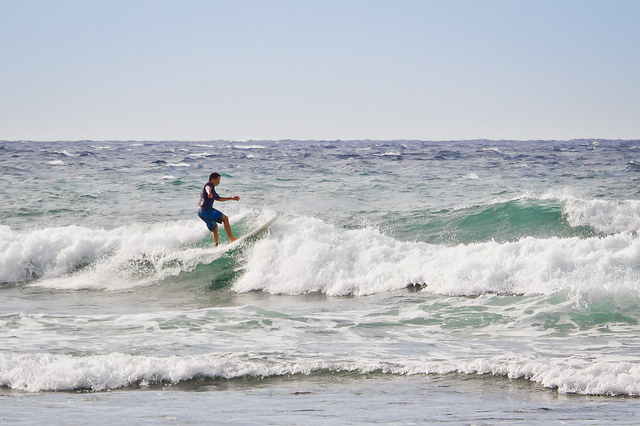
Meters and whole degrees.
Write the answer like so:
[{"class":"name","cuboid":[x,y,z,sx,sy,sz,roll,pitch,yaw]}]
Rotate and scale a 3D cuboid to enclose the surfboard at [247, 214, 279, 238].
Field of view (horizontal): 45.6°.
[{"class":"surfboard","cuboid":[-1.537,0.364,20.261,0.196,0.104,1.424,-37,-5,39]}]
